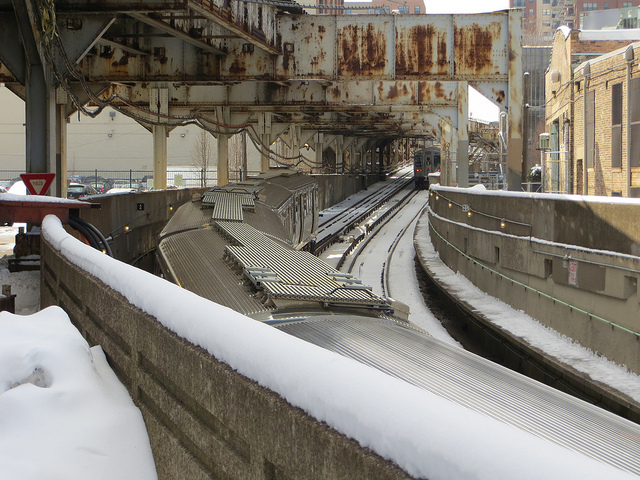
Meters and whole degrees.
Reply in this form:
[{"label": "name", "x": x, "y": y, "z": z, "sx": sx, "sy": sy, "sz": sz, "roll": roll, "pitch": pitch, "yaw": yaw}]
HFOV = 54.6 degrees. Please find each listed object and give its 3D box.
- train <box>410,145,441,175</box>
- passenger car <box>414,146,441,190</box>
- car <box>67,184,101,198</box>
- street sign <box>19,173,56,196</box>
[{"label": "train", "x": 11.570, "y": -8.621, "z": 67.262, "sx": 1.903, "sy": 2.957, "sz": 7.304, "roll": 0, "pitch": 6, "yaw": 13}, {"label": "passenger car", "x": 11.328, "y": -8.188, "z": 66.696, "sx": 2.148, "sy": 4.057, "sz": 10.876, "roll": 0, "pitch": 5, "yaw": 11}, {"label": "car", "x": -17.357, "y": -3.594, "z": 45.174, "sx": 1.692, "sy": 0.943, "sz": 4.501, "roll": 11, "pitch": 1, "yaw": -17}, {"label": "street sign", "x": -6.712, "y": -1.351, "z": 14.629, "sx": 0.718, "sy": 0.510, "sz": 0.997, "roll": 11, "pitch": 2, "yaw": -35}]
